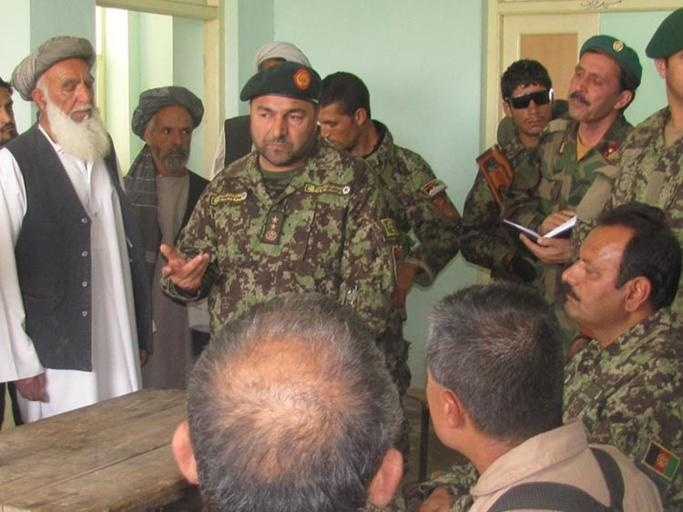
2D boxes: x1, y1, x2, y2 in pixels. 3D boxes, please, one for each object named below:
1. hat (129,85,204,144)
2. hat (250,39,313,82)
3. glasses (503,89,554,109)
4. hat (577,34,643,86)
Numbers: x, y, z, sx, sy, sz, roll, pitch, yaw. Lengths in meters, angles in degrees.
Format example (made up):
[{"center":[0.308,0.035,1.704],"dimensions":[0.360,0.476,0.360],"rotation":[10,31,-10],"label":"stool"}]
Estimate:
[{"center":[-1.061,-0.884,4.142],"dimensions":[0.420,0.323,0.208],"rotation":[-3,10,-15],"label":"hat"},{"center":[-0.334,-1.113,3.828],"dimensions":[0.385,0.215,0.461],"rotation":[0,13,10],"label":"hat"},{"center":[1.158,-0.962,4.150],"dimensions":[0.268,0.118,0.137],"rotation":[2,10,13],"label":"glasses"},{"center":[1.316,-0.944,3.304],"dimensions":[0.272,0.272,0.163],"rotation":[3,10,18],"label":"hat"}]
